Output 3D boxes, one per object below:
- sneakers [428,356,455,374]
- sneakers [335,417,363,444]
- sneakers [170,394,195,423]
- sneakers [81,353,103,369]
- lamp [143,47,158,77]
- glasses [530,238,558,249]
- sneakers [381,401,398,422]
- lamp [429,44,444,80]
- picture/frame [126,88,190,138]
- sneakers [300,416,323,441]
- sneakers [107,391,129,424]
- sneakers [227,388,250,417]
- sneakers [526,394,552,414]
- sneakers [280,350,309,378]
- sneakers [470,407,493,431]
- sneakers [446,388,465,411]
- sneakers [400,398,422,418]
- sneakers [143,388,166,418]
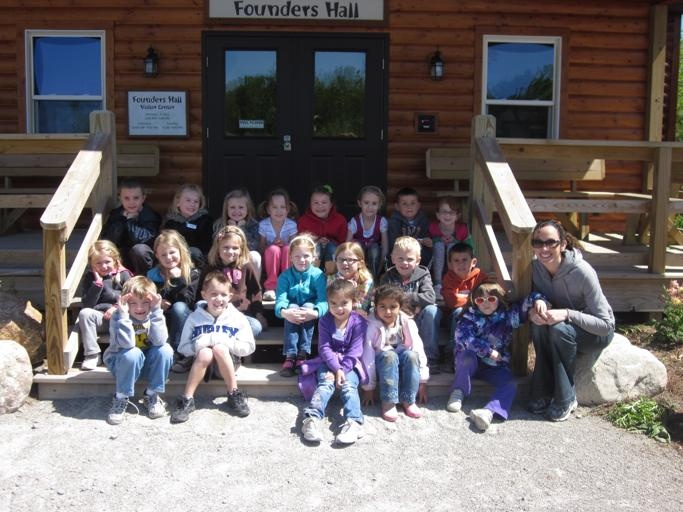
[{"bbox_3d":[0.858,0.941,6.012,0.270,0.128,0.091,-4,4,-31],"label":"sneakers"},{"bbox_3d":[0.059,1.346,5.277,0.102,0.135,0.274,-2,-8,23],"label":"sneakers"},{"bbox_3d":[-1.261,1.220,5.487,0.093,0.119,0.265,2,1,2],"label":"sneakers"},{"bbox_3d":[-2.092,0.906,5.941,0.077,0.179,0.247,-2,-11,10],"label":"sneakers"},{"bbox_3d":[-2.315,-2.368,8.460,0.182,0.339,0.120,-4,13,-17],"label":"lamp"},{"bbox_3d":[1.672,-0.101,5.681,0.228,0.096,0.090,5,14,17],"label":"glasses"},{"bbox_3d":[0.384,1.235,5.548,0.123,0.114,0.151,1,14,2],"label":"sneakers"},{"bbox_3d":[1.179,-2.367,8.606,0.171,0.377,0.163,-1,13,-4],"label":"lamp"},{"bbox_3d":[-2.238,-1.779,8.531,0.517,0.432,0.056,0,6,2],"label":"picture/frame"},{"bbox_3d":[-0.228,1.310,5.350,0.164,0.154,0.271,-1,14,-4],"label":"sneakers"},{"bbox_3d":[-1.765,1.211,5.480,0.091,0.103,0.263,22,26,-34],"label":"sneakers"},{"bbox_3d":[-0.834,1.172,5.607,0.099,0.136,0.275,-10,20,-29],"label":"sneakers"},{"bbox_3d":[1.621,1.223,5.715,0.201,0.096,0.096,-1,3,-27],"label":"sneakers"},{"bbox_3d":[-0.396,0.915,5.868,0.172,0.150,0.516,1,-2,6],"label":"sneakers"},{"bbox_3d":[1.090,1.282,5.446,0.164,0.143,0.128,3,14,10],"label":"sneakers"},{"bbox_3d":[0.923,1.173,5.659,0.126,0.128,0.190,3,14,12],"label":"sneakers"},{"bbox_3d":[0.574,1.221,5.592,0.146,0.109,0.166,-4,14,-16],"label":"sneakers"},{"bbox_3d":[-1.493,1.171,5.554,0.180,0.188,0.183,-3,14,-16],"label":"sneakers"}]
